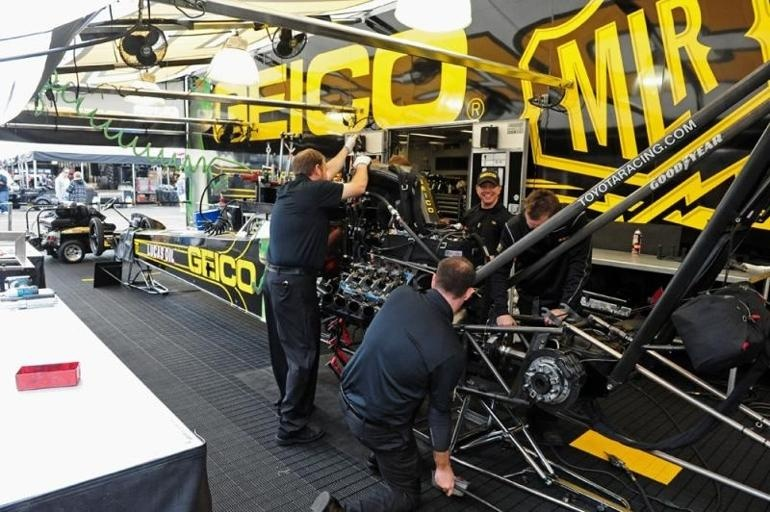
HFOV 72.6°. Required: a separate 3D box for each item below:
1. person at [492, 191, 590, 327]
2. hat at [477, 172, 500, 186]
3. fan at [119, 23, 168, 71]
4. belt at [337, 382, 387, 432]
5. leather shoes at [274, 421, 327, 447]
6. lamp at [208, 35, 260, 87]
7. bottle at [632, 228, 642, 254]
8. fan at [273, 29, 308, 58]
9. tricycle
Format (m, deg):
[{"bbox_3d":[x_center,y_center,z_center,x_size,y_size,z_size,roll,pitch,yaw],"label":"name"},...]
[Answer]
[{"bbox_3d":[1.188,0.027,4.176,0.727,1.109,0.890,11,14,30],"label":"person"},{"bbox_3d":[1.134,-0.854,5.712,0.260,0.129,0.179,-6,15,-38],"label":"hat"},{"bbox_3d":[-2.620,-2.296,5.684,0.452,0.418,0.281,-2,13,-25],"label":"fan"},{"bbox_3d":[-0.152,0.972,3.391,0.234,0.189,0.083,28,52,2],"label":"belt"},{"bbox_3d":[-0.666,1.420,4.197,0.377,0.166,0.150,-7,13,-27],"label":"leather shoes"},{"bbox_3d":[-1.528,-2.000,5.222,0.444,0.515,0.477,-2,13,-25],"label":"lamp"},{"bbox_3d":[2.809,-0.174,5.866,0.094,0.265,0.153,7,12,18],"label":"bottle"},{"bbox_3d":[-1.219,-2.692,6.660,0.341,0.354,1.064,1,12,-13],"label":"fan"},{"bbox_3d":[-4.945,-0.448,10.022,2.602,1.192,1.448,-8,15,-36],"label":"tricycle"}]
